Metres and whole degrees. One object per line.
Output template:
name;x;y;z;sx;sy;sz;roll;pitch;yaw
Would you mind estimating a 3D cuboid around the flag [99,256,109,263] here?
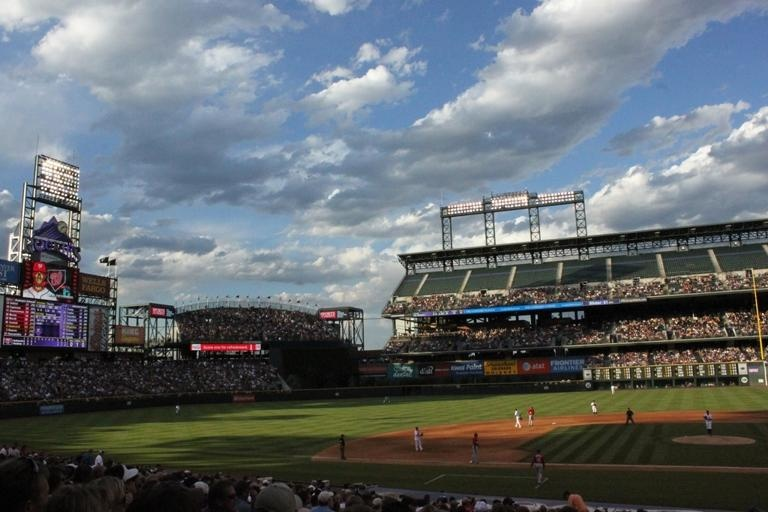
flag;-28.310;0.424;72.092;0.870;0.826;0.084;5;30;-12
